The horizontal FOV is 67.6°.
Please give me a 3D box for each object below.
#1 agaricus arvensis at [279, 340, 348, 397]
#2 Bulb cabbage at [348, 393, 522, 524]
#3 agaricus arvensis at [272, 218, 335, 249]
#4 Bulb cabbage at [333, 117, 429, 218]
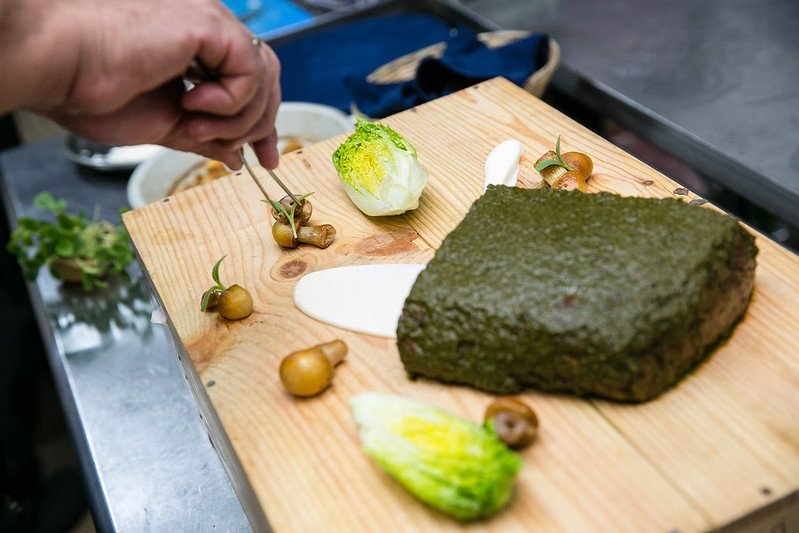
[{"bbox_3d":[-0.143,0.182,1.064,0.131,0.059,0.073,-26,62,-15],"label":"agaricus arvensis"},{"bbox_3d":[0.050,0.302,0.993,0.301,0.059,0.168,28,39,25],"label":"Bulb cabbage"},{"bbox_3d":[-0.200,-0.066,1.265,0.110,0.057,0.061,0,20,12],"label":"agaricus arvensis"},{"bbox_3d":[-0.046,-0.229,1.340,0.169,0.077,0.263,-25,62,-14],"label":"Bulb cabbage"}]
